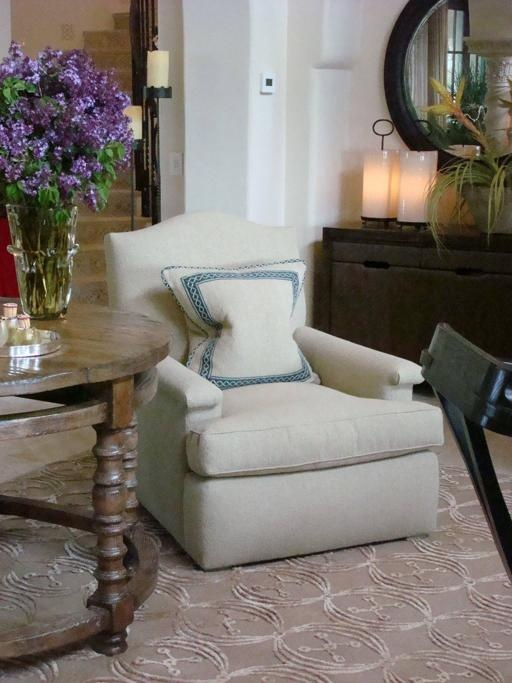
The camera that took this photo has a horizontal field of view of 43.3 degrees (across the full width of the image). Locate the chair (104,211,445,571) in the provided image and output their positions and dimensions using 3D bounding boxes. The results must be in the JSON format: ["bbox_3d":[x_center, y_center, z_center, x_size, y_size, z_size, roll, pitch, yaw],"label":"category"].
[{"bbox_3d":[-0.002,0.087,2.064,0.818,0.798,0.968,-6,20,-31],"label":"chair"}]

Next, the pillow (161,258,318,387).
[{"bbox_3d":[-0.045,-0.049,2.096,0.501,0.368,0.261,-5,23,-28],"label":"pillow"}]
